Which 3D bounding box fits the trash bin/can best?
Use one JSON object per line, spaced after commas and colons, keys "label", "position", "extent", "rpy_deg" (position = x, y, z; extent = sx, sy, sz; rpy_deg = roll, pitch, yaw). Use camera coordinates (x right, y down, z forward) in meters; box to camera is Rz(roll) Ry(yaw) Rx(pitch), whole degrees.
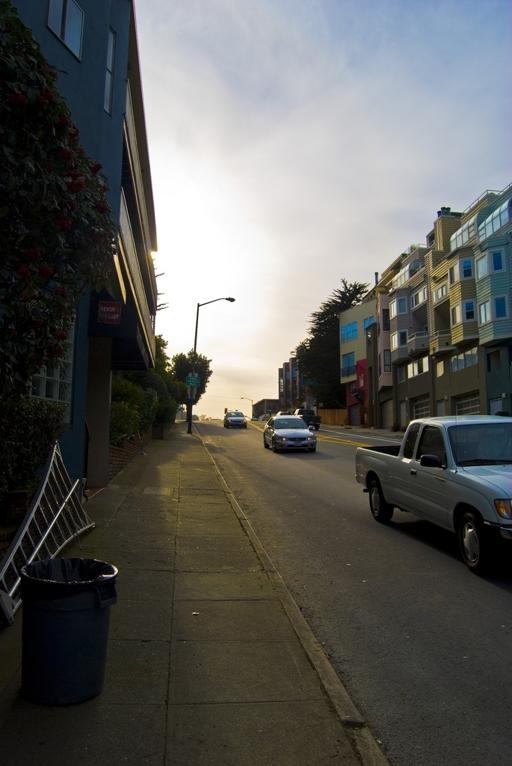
{"label": "trash bin/can", "position": [-1.073, 1.378, 3.195], "extent": [0.485, 0.763, 0.550], "rpy_deg": [6, 3, 15]}

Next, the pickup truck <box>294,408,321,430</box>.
{"label": "pickup truck", "position": [4.501, 2.867, 46.469], "extent": [1.242, 1.413, 3.136], "rpy_deg": [1, 1, -4]}
